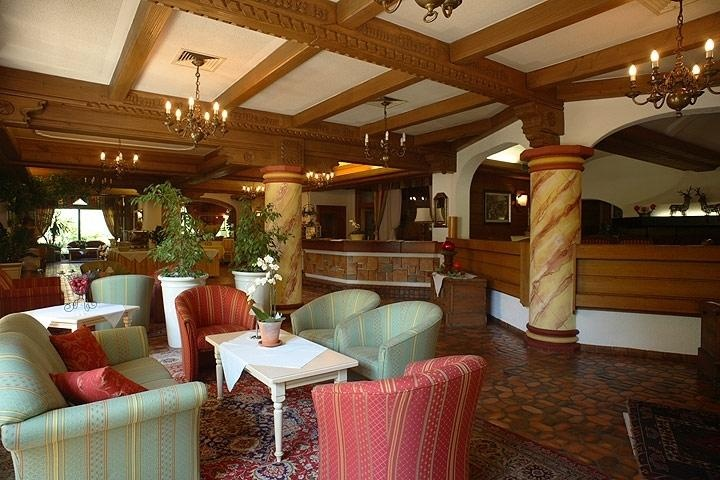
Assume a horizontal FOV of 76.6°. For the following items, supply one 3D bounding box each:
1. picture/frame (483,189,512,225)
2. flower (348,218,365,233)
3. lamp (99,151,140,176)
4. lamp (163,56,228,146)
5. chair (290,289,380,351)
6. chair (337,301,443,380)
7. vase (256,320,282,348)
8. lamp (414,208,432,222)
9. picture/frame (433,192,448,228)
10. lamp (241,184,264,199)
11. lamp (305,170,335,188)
[{"bbox_3d":[3.624,-0.882,12.126,1.036,0.844,0.105,1,-9,-39],"label":"picture/frame"},{"bbox_3d":[-0.138,-0.452,14.889,0.545,0.545,0.521,-6,4,-34],"label":"flower"},{"bbox_3d":[-5.526,-1.781,10.402,0.728,0.493,0.732,-4,-6,43],"label":"lamp"},{"bbox_3d":[-2.298,-1.995,6.313,0.822,1.051,0.715,-8,-16,44],"label":"lamp"},{"bbox_3d":[-0.297,0.906,5.569,0.757,0.748,0.771,-1,-3,41],"label":"chair"},{"bbox_3d":[0.345,1.029,4.960,0.893,0.804,0.944,4,-3,-34],"label":"chair"},{"bbox_3d":[-0.923,0.973,4.682,0.271,0.254,0.273,1,-9,-8],"label":"vase"},{"bbox_3d":[1.494,-0.597,10.770,0.354,0.334,0.345,0,-4,6],"label":"lamp"},{"bbox_3d":[1.856,-0.690,10.460,0.150,0.836,0.595,-4,12,-19],"label":"picture/frame"},{"bbox_3d":[-3.480,-1.626,15.084,0.682,0.418,0.665,0,-5,8],"label":"lamp"},{"bbox_3d":[-1.062,-1.560,11.794,0.708,0.441,0.694,-2,-10,18],"label":"lamp"}]
